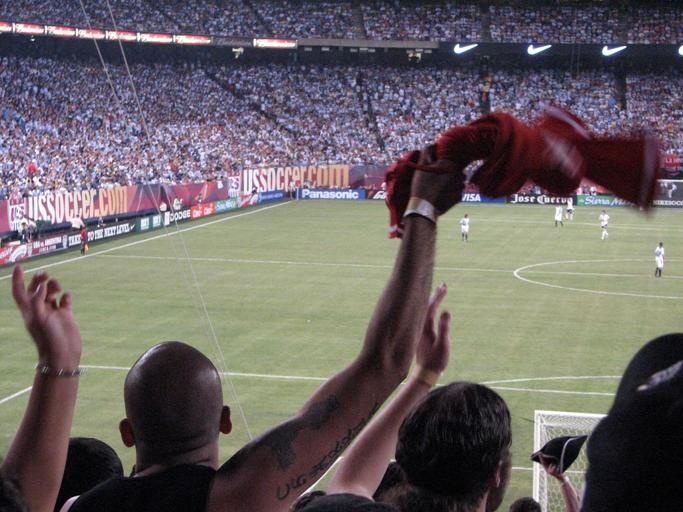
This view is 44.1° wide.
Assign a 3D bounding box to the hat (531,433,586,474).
[{"bbox_3d":[1.375,1.236,5.213,0.309,0.108,0.329,-9,36,53],"label":"hat"}]

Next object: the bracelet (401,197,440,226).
[{"bbox_3d":[0.257,-0.149,2.845,0.075,0.058,0.113,10,-18,17],"label":"bracelet"}]
